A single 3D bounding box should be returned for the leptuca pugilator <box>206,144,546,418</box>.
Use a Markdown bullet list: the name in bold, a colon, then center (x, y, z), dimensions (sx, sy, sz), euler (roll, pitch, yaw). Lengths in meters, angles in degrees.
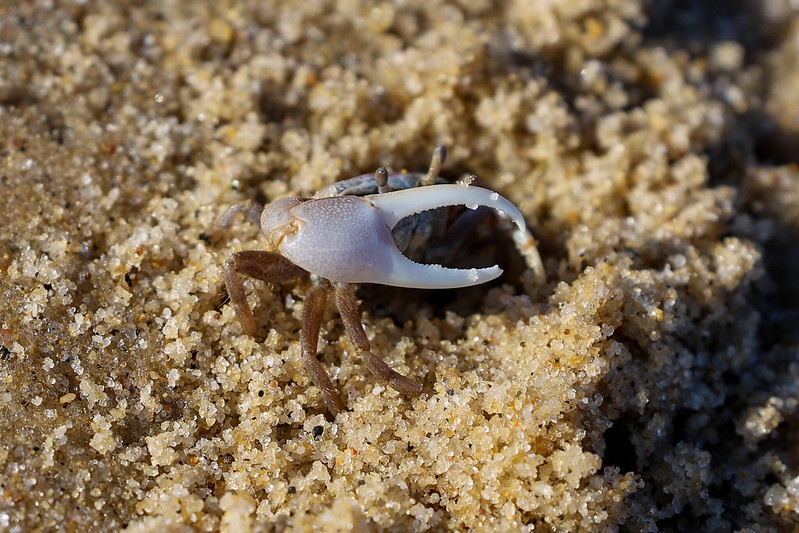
- **leptuca pugilator**: center (-0.054, 0.023, 3.074), dimensions (1.137, 0.467, 0.767), euler (-15, 85, -3)
